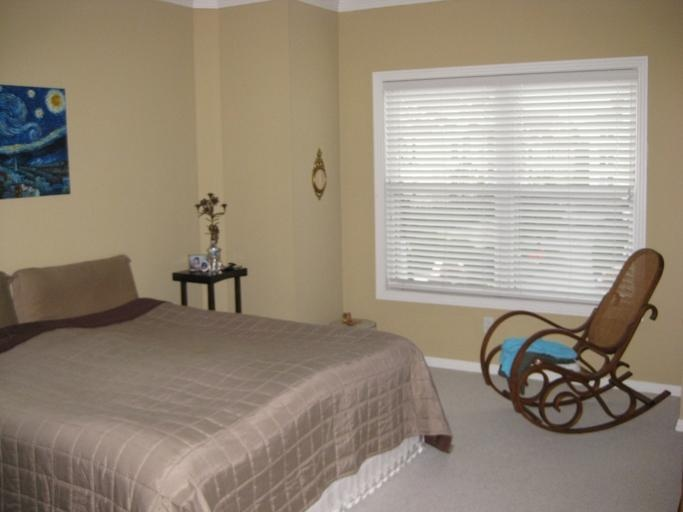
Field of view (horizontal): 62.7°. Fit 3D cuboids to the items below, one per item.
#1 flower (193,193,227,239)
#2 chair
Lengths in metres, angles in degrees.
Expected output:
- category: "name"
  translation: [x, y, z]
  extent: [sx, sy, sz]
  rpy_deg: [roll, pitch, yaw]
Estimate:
- category: "flower"
  translation: [-1.193, -0.338, 5.153]
  extent: [0.266, 0.464, 0.281]
  rpy_deg: [0, -16, -22]
- category: "chair"
  translation: [1.751, 0.614, 4.203]
  extent: [1.458, 1.269, 0.737]
  rpy_deg: [-7, 13, -24]
